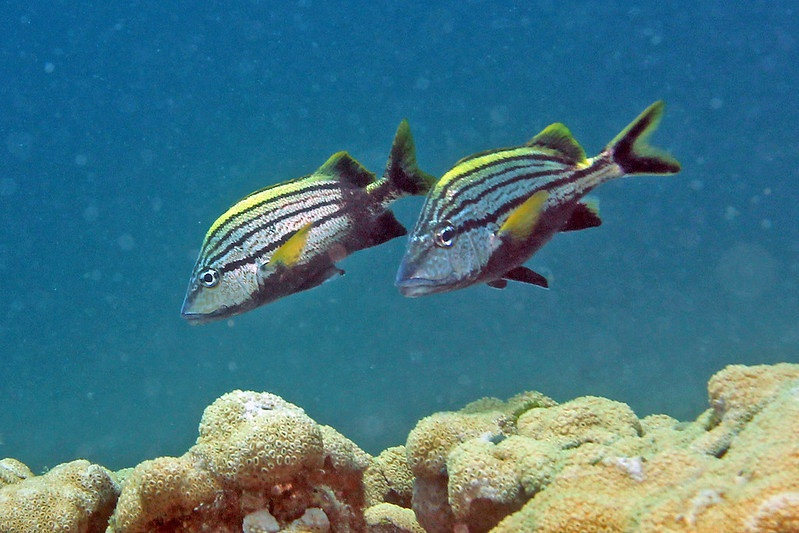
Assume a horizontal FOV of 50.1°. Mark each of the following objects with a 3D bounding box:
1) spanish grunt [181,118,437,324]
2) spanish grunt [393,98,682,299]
[{"bbox_3d":[-1.138,-0.399,9.826,3.081,0.976,0.901,-29,45,-4],"label":"spanish grunt"},{"bbox_3d":[1.350,-0.698,9.614,3.653,2.032,1.667,-21,80,-41],"label":"spanish grunt"}]
